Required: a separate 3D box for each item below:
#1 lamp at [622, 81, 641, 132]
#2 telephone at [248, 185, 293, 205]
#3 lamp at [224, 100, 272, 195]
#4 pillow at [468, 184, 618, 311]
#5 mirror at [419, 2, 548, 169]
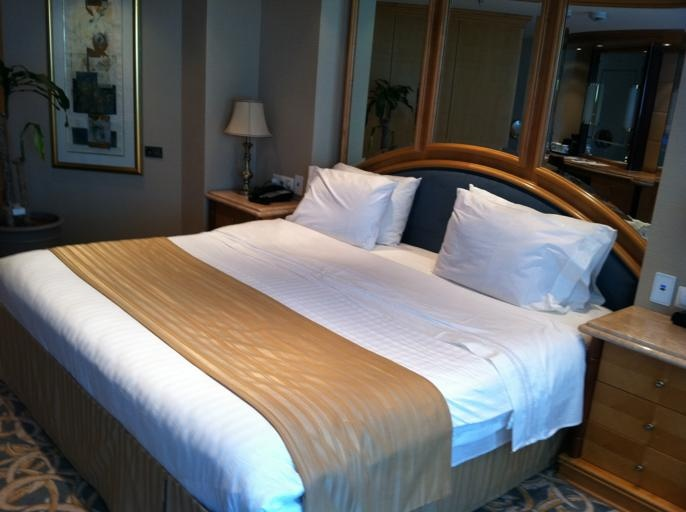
[{"bbox_3d":[1.547,-0.792,2.803,0.053,0.249,0.031,15,20,36],"label":"lamp"},{"bbox_3d":[-0.590,-0.514,4.336,0.228,0.091,0.231,-8,19,-33],"label":"telephone"},{"bbox_3d":[-0.826,-0.964,4.543,0.445,0.842,0.452,-11,31,-30],"label":"lamp"},{"bbox_3d":[1.264,0.033,2.849,0.558,0.666,0.181,18,3,34],"label":"pillow"},{"bbox_3d":[0.942,-1.125,3.396,0.117,1.146,0.845,-6,22,-42],"label":"mirror"}]
